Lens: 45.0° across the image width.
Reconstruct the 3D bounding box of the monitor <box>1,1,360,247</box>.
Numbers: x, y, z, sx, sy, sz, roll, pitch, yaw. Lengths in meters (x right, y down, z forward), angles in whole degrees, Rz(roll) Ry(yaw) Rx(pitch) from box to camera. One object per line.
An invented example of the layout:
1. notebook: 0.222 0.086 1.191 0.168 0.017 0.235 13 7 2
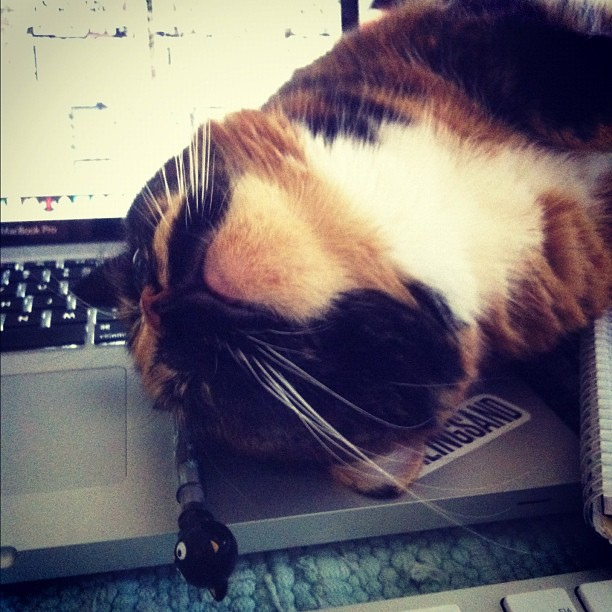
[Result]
1. monitor: -0.096 -0.143 0.563 0.277 0.166 0.054 -9 21 -17
